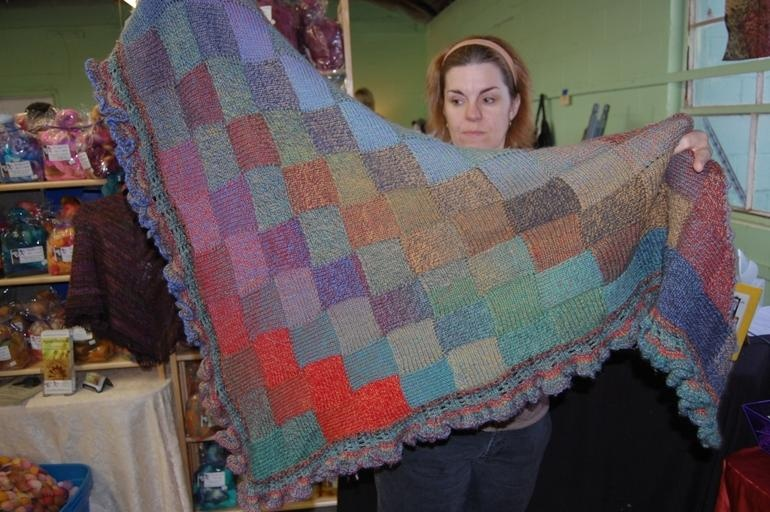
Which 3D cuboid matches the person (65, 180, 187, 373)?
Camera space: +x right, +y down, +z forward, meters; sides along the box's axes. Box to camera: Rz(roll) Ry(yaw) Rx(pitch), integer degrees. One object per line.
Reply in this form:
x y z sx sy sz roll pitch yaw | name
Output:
-1.121 0.108 2.828 0.418 0.734 0.152 -12 13 -26 | person
